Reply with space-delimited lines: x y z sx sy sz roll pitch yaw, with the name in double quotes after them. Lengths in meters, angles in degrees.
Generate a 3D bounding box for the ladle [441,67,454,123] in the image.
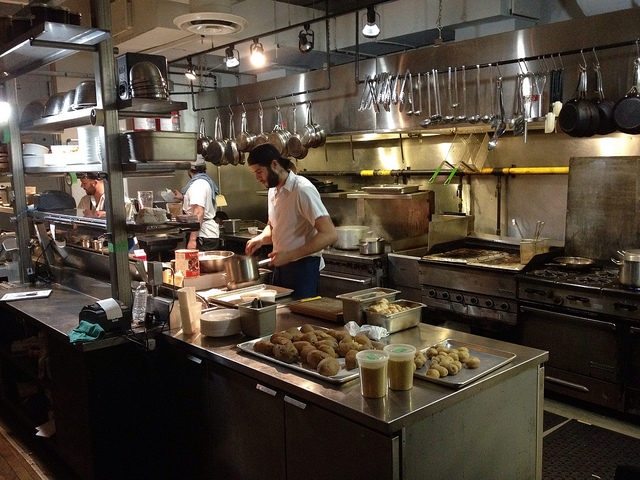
1.229 -1.375 4.496 0.115 0.479 0.274 3 11 16 "ladle"

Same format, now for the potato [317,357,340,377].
0.038 0.556 2.068 0.062 0.048 0.084 6 11 7 "potato"

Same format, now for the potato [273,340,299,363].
-0.156 0.527 2.232 0.076 0.058 0.103 21 12 -27 "potato"

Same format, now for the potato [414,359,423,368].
0.445 0.553 2.118 0.035 0.027 0.027 -23 24 -14 "potato"

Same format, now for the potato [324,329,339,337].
0.061 0.476 2.395 0.027 0.022 0.050 -7 1 -38 "potato"

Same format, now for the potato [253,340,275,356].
-0.274 0.526 2.299 0.051 0.049 0.105 -1 5 -31 "potato"

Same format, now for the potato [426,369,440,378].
0.488 0.575 2.028 0.029 0.021 0.037 -15 15 -29 "potato"

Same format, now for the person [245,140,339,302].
-0.257 -0.013 3.889 0.692 1.546 1.813 -2 11 -7 "person"

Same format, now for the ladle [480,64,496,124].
1.554 -1.326 4.279 0.140 0.512 0.167 6 13 33 "ladle"

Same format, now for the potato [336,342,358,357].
0.120 0.513 2.218 0.073 0.043 0.058 -12 -4 5 "potato"

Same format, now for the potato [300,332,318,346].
-0.052 0.485 2.312 0.050 0.027 0.051 -10 19 -44 "potato"

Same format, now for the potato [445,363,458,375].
0.576 0.562 2.054 0.047 0.037 0.024 17 23 4 "potato"

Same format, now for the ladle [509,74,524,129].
1.702 -1.219 4.077 0.095 0.460 0.311 4 12 22 "ladle"

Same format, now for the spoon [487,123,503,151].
1.579 -1.000 4.251 0.095 0.082 0.471 18 49 -2 "spoon"

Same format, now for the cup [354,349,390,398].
0.210 0.537 1.921 0.152 0.143 0.161 -1 -1 0 "cup"

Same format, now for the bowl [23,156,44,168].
-2.300 -0.633 3.779 0.128 0.078 0.132 0 0 0 "bowl"

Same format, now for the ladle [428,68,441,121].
1.119 -1.407 4.557 0.105 0.485 0.324 2 11 12 "ladle"

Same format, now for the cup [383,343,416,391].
0.323 0.556 2.025 0.157 0.182 0.162 0 -2 0 "cup"

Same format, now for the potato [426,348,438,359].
0.523 0.526 2.196 0.041 0.043 0.041 -19 -1 5 "potato"

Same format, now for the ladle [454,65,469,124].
1.355 -1.388 4.447 0.113 0.553 0.160 6 12 29 "ladle"

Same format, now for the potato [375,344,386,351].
0.292 0.517 2.273 0.031 0.022 0.028 -2 1 22 "potato"

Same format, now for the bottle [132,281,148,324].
-1.085 0.366 2.821 0.092 0.218 0.194 -5 12 -21 "bottle"

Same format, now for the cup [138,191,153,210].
-1.119 -0.261 3.072 0.115 0.138 0.120 3 4 0 "cup"

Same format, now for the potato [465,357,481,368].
0.682 0.549 2.113 0.051 0.036 0.041 -6 12 -25 "potato"

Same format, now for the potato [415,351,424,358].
0.461 0.532 2.205 0.030 0.034 0.026 -8 -13 14 "potato"

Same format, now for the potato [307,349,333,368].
0.005 0.535 2.136 0.085 0.056 0.067 13 -1 -23 "potato"

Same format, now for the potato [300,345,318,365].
-0.053 0.531 2.209 0.072 0.075 0.071 4 12 4 "potato"

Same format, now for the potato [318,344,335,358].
0.029 0.511 2.203 0.060 0.036 0.047 24 13 13 "potato"

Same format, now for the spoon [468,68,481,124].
1.450 -1.341 4.345 0.097 0.511 0.202 4 12 23 "spoon"

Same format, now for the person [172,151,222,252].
-1.475 -0.456 5.721 0.554 1.207 1.994 -3 11 -14 "person"

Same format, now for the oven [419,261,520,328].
1.324 0.437 4.156 0.579 0.573 0.864 0 1 -45 "oven"

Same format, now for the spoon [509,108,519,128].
1.700 -1.060 4.121 0.057 0.034 0.305 2 44 30 "spoon"

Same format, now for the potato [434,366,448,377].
0.526 0.570 2.039 0.034 0.023 0.045 0 7 16 "potato"

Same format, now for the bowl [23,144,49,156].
-2.318 -0.747 3.865 0.295 0.092 0.151 6 12 29 "bowl"

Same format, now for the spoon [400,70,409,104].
0.858 -1.574 4.792 0.053 0.382 0.153 7 0 13 "spoon"

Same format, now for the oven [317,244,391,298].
0.328 0.342 5.075 0.538 0.813 0.812 1 -1 -40 "oven"

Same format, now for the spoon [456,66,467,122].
1.356 -1.383 4.449 0.079 0.508 0.167 3 11 19 "spoon"

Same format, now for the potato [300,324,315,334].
-0.068 0.456 2.431 0.050 0.029 0.038 -5 9 42 "potato"

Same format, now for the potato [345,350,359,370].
0.142 0.547 2.146 0.056 0.072 0.069 0 11 0 "potato"
